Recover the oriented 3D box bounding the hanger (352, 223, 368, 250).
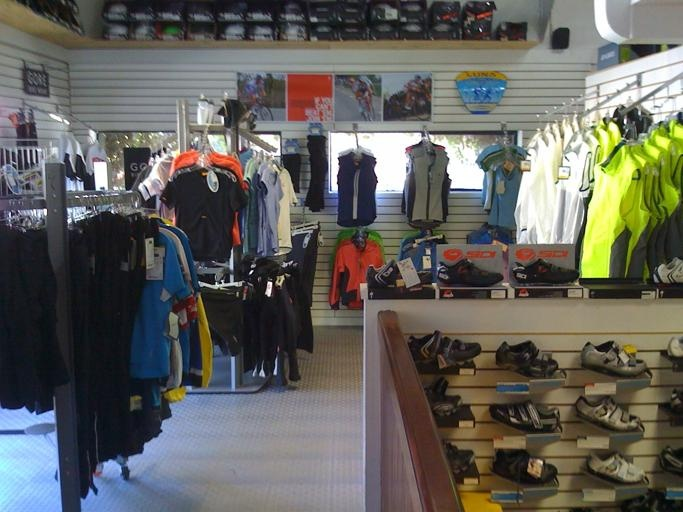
[{"bbox_3d":[0.225,-0.202,7.123,0.174,0.242,0.231,-2,8,-6],"label":"hanger"}]

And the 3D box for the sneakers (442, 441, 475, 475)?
[{"bbox_3d":[0.723,1.215,3.741,0.194,0.144,0.195,1,13,2],"label":"sneakers"}]

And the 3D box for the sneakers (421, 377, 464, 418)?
[{"bbox_3d":[0.624,0.841,3.736,0.226,0.200,0.230,1,13,3],"label":"sneakers"}]

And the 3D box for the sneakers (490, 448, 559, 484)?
[{"bbox_3d":[1.116,1.269,3.742,0.342,0.157,0.199,6,29,17],"label":"sneakers"}]

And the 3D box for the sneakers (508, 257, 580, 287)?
[{"bbox_3d":[1.246,0.096,3.793,0.415,0.189,0.158,-1,5,2],"label":"sneakers"}]

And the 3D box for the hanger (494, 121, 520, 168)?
[{"bbox_3d":[1.908,-1.253,7.136,0.310,0.556,0.234,5,-17,-14],"label":"hanger"}]

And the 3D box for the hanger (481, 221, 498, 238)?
[{"bbox_3d":[1.761,-0.310,7.391,0.142,0.169,0.340,0,13,-1],"label":"hanger"}]

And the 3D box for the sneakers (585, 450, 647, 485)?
[{"bbox_3d":[1.722,1.311,3.842,0.311,0.152,0.183,1,9,10],"label":"sneakers"}]

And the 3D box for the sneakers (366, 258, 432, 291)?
[{"bbox_3d":[0.357,0.122,3.803,0.287,0.155,0.212,-1,2,0],"label":"sneakers"}]

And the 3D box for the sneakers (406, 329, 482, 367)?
[{"bbox_3d":[0.607,0.538,3.753,0.455,0.240,0.201,-4,8,-7],"label":"sneakers"}]

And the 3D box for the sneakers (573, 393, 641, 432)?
[{"bbox_3d":[1.648,0.959,3.822,0.354,0.167,0.191,3,8,8],"label":"sneakers"}]

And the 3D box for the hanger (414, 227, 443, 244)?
[{"bbox_3d":[1.038,-0.228,7.209,0.283,0.148,0.168,5,0,-11],"label":"hanger"}]

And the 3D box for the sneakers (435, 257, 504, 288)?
[{"bbox_3d":[0.795,0.102,3.785,0.391,0.185,0.173,0,1,5],"label":"sneakers"}]

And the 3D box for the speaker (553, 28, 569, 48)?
[{"bbox_3d":[2.605,-2.564,7.270,0.201,0.238,0.071,1,12,2],"label":"speaker"}]

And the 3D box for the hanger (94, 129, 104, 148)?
[{"bbox_3d":[-2.967,-1.434,7.482,0.054,0.234,0.235,-7,9,-31],"label":"hanger"}]

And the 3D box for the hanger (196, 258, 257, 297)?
[{"bbox_3d":[-0.982,0.246,5.511,0.343,0.454,0.171,-2,2,0],"label":"hanger"}]

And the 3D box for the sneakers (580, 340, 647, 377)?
[{"bbox_3d":[1.670,0.611,3.767,0.371,0.186,0.191,4,4,-2],"label":"sneakers"}]

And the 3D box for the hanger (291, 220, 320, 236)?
[{"bbox_3d":[-0.409,-0.309,6.960,0.199,0.087,0.206,-10,1,-13],"label":"hanger"}]

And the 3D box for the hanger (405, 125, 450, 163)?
[{"bbox_3d":[1.010,-1.324,7.267,0.464,0.442,0.227,-1,2,-10],"label":"hanger"}]

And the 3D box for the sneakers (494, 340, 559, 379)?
[{"bbox_3d":[1.120,0.618,3.778,0.363,0.183,0.190,4,16,-1],"label":"sneakers"}]

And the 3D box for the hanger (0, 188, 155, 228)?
[{"bbox_3d":[-1.673,-0.321,3.886,0.358,0.208,1.093,5,14,18],"label":"hanger"}]

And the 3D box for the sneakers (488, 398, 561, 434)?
[{"bbox_3d":[1.142,0.975,3.736,0.325,0.142,0.199,8,2,0],"label":"sneakers"}]
